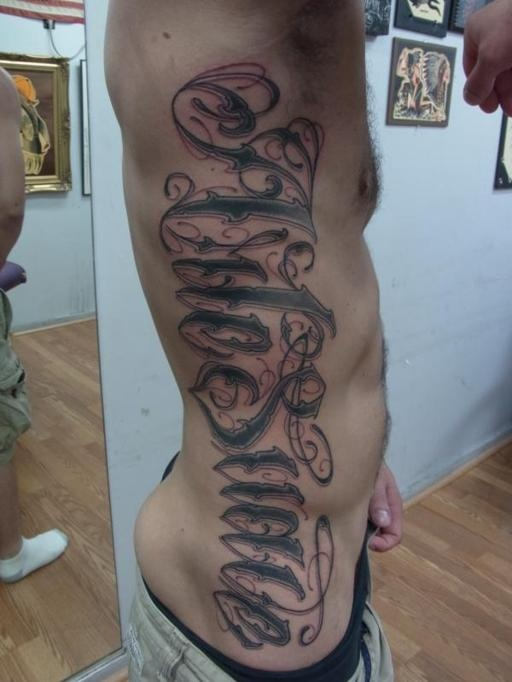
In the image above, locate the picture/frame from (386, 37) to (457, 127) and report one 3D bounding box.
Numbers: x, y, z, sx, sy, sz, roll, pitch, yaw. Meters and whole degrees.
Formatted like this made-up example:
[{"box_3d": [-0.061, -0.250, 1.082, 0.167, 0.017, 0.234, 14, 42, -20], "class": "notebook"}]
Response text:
[{"box_3d": [0.436, -0.659, 1.487, 0.010, 0.194, 0.270, -18, 33, -17], "class": "picture/frame"}]
